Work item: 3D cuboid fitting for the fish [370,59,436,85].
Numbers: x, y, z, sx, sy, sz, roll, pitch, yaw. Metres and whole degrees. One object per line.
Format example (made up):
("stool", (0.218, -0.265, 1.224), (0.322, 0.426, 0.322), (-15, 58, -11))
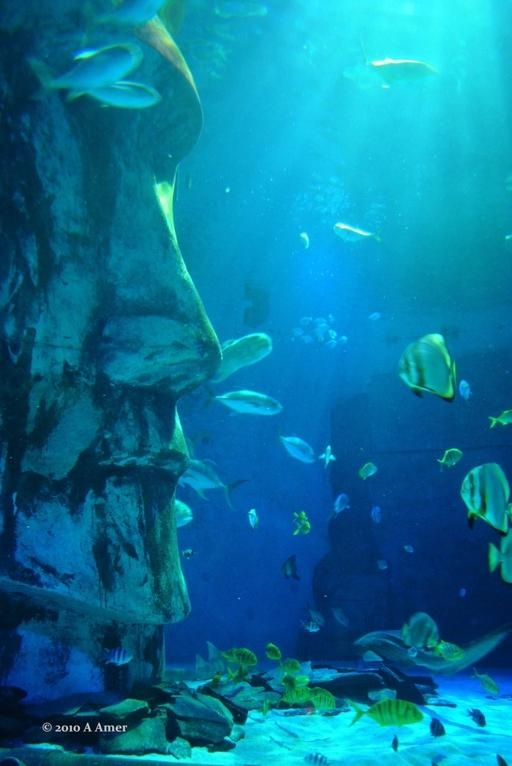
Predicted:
("fish", (1.550, -3.306, 9.455), (0.650, 0.232, 0.505), (13, 5, 5))

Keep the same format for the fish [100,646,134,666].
("fish", (-1.162, 2.393, 7.776), (0.306, 0.146, 0.132), (9, 6, -37))

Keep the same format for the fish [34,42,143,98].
("fish", (-1.341, -2.551, 7.165), (0.830, 0.330, 0.359), (15, 5, 22))

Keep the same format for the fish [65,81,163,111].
("fish", (-1.050, -2.318, 7.181), (0.443, 0.073, 0.349), (-1, -5, -3))
